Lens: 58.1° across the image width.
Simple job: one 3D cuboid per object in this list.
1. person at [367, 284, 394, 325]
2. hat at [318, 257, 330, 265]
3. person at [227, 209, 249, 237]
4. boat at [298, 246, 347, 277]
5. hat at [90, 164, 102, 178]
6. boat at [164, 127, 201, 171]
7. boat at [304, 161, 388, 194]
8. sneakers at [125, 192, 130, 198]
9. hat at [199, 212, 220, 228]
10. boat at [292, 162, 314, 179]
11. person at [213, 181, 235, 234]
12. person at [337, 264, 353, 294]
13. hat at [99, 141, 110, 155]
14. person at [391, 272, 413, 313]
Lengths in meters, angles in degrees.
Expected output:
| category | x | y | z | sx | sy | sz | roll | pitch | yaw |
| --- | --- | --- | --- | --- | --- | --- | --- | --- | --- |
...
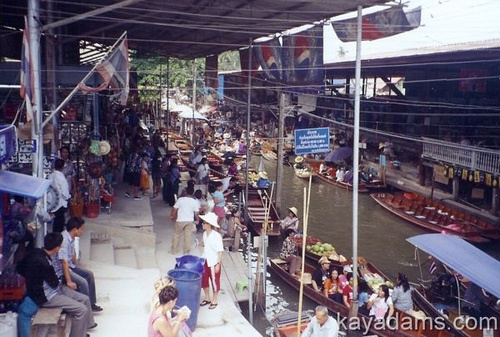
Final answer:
| category | x | y | z | sx | sy | sz | roll | pitch | yaw |
| --- | --- | --- | --- | --- | --- | --- | --- | --- | --- |
| person | 3.881 | 4.079 | 13.574 | 0.753 | 1.134 | 1.039 | 3 | -18 | 36 |
| hat | 2.570 | 3.158 | 15.451 | 0.338 | 0.168 | 0.254 | -10 | 8 | -28 |
| person | -0.571 | 2.037 | 17.476 | 0.883 | 1.376 | 0.832 | 0 | 5 | 5 |
| boat | 3.035 | 3.476 | 18.471 | 0.779 | 0.723 | 2.949 | -8 | 17 | -23 |
| hat | -5.378 | 0.064 | 15.493 | 0.389 | 0.589 | 0.418 | -2 | 2 | -26 |
| boat | -5.363 | -1.862 | 34.035 | 1.926 | 1.250 | 9.183 | 0 | 19 | -14 |
| boat | 6.424 | 0.629 | 32.678 | 1.990 | 0.900 | 5.832 | -10 | 22 | -26 |
| sneakers | -5.160 | 1.075 | 18.781 | 0.239 | 0.214 | 0.369 | 0 | 10 | -16 |
| hat | -1.149 | 1.307 | 12.168 | 0.522 | 0.227 | 0.532 | 32 | 6 | -33 |
| boat | 4.036 | 0.167 | 35.158 | 1.123 | 0.812 | 4.524 | -2 | 16 | -1 |
| person | -1.110 | 1.605 | 18.632 | 0.686 | 1.878 | 0.719 | -6 | 35 | -1 |
| person | 3.192 | 3.738 | 15.172 | 0.481 | 1.212 | 0.411 | 13 | -13 | -26 |
| hat | -5.996 | -0.818 | 18.304 | 0.362 | 0.515 | 0.507 | 0 | 9 | -15 |
| person | 4.792 | 4.100 | 14.047 | 0.516 | 1.615 | 0.526 | 2 | 12 | 14 |
